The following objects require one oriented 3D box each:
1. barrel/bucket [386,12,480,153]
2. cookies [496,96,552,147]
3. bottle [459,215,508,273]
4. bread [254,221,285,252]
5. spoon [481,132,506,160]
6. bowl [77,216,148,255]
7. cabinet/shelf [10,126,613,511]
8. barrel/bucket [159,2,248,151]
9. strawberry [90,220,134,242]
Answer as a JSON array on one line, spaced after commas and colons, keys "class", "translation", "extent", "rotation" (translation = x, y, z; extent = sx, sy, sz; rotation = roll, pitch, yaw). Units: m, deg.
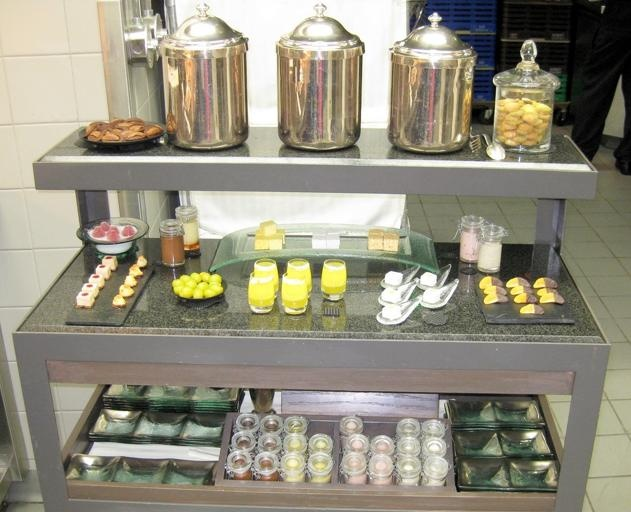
[{"class": "barrel/bucket", "translation": [0.304, -0.442, 1.430], "extent": [0.237, 0.312, 0.208], "rotation": [2, 29, 10]}, {"class": "cookies", "translation": [0.563, -0.359, 1.505], "extent": [0.135, 0.098, 0.137], "rotation": [3, 28, 7]}, {"class": "bottle", "translation": [0.522, -0.059, 1.849], "extent": [0.212, 0.192, 0.132], "rotation": [6, 43, 12]}, {"class": "bread", "translation": [-0.147, -0.056, 1.786], "extent": [0.102, 0.082, 0.094], "rotation": [0, 32, 1]}, {"class": "spoon", "translation": [0.469, -0.291, 1.433], "extent": [0.036, 0.015, 0.107], "rotation": [-8, 41, 3]}, {"class": "bowl", "translation": [-0.675, -0.055, 1.861], "extent": [0.228, 0.089, 0.212], "rotation": [3, 17, -1]}, {"class": "cabinet/shelf", "translation": [0.039, 0.256, 2.214], "extent": [2.137, 1.307, 1.006], "rotation": [1, 26, 2]}, {"class": "barrel/bucket", "translation": [-0.278, -0.437, 1.404], "extent": [0.215, 0.316, 0.103], "rotation": [-3, 27, -5]}, {"class": "strawberry", "translation": [-0.673, -0.078, 1.829], "extent": [0.097, 0.029, 0.092], "rotation": [4, 20, -1]}]
